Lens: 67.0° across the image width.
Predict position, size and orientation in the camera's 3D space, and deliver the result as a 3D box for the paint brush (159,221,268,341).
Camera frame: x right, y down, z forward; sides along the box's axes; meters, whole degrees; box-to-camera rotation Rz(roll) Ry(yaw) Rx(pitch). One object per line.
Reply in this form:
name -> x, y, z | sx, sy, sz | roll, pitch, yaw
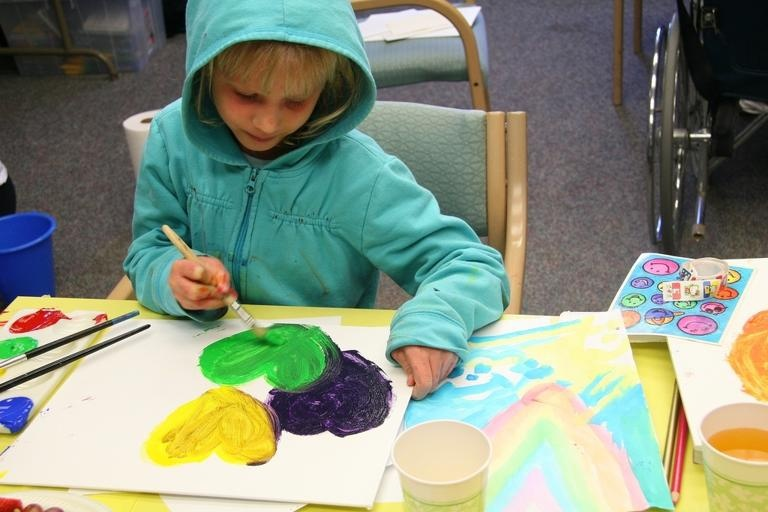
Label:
paint brush -> -0.311, 0.048, 1.060 | 0.034, 0.238, 0.027 | -31, 10, 48
